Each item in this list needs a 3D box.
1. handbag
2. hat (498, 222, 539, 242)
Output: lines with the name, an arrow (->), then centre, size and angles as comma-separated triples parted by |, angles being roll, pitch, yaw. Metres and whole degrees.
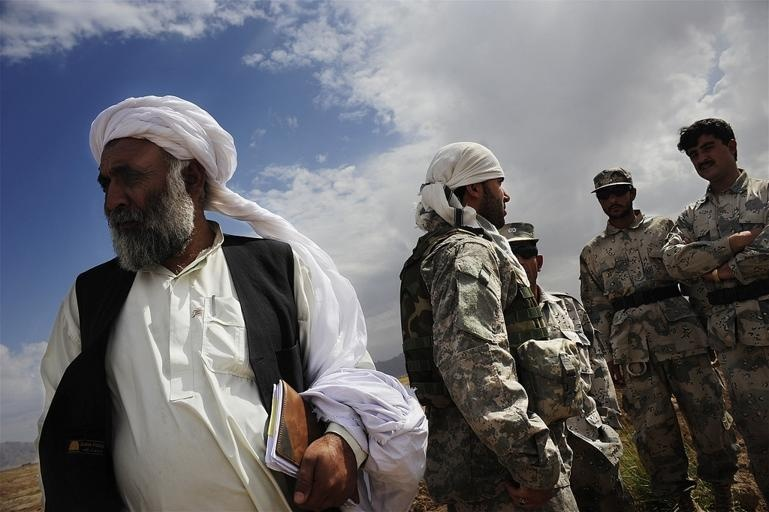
handbag -> 1.242, 0.904, 3.725 | 0.467, 0.594, 0.237 | -8, -23, -9
hat -> 1.338, -0.245, 5.171 | 0.393, 0.192, 0.439 | -3, -15, 10
